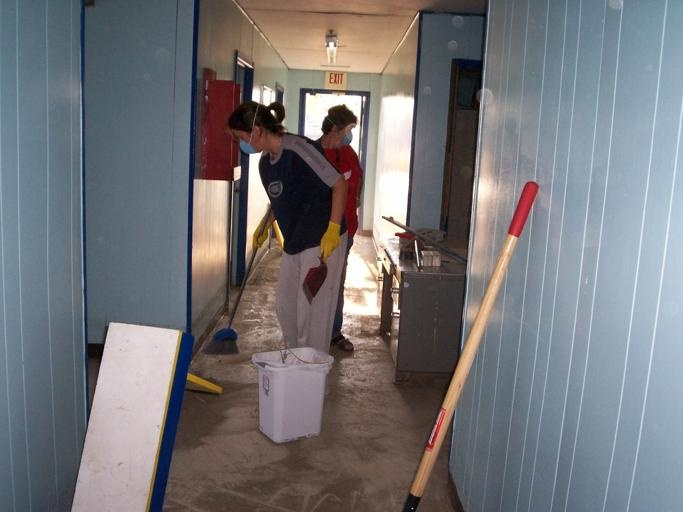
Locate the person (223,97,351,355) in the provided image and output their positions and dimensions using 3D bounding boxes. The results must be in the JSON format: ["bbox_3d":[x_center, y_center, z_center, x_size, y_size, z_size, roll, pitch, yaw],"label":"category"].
[{"bbox_3d":[-0.288,-0.032,3.473,0.657,1.877,0.599,7,21,26],"label":"person"}]

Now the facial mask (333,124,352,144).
[{"bbox_3d":[0.004,-0.993,4.424,0.123,0.080,0.124,26,14,-3],"label":"facial mask"}]

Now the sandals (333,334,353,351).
[{"bbox_3d":[0.014,0.718,4.569,0.082,0.058,0.210,-9,9,-27],"label":"sandals"}]

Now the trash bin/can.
[{"bbox_3d":[-0.294,0.674,3.265,0.579,0.592,0.429,-1,2,-25],"label":"trash bin/can"}]

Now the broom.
[{"bbox_3d":[-0.673,0.147,3.260,0.272,1.390,0.107,-5,40,-22],"label":"broom"}]

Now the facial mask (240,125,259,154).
[{"bbox_3d":[-0.559,-0.681,3.233,0.095,0.151,0.074,0,5,-2],"label":"facial mask"}]
